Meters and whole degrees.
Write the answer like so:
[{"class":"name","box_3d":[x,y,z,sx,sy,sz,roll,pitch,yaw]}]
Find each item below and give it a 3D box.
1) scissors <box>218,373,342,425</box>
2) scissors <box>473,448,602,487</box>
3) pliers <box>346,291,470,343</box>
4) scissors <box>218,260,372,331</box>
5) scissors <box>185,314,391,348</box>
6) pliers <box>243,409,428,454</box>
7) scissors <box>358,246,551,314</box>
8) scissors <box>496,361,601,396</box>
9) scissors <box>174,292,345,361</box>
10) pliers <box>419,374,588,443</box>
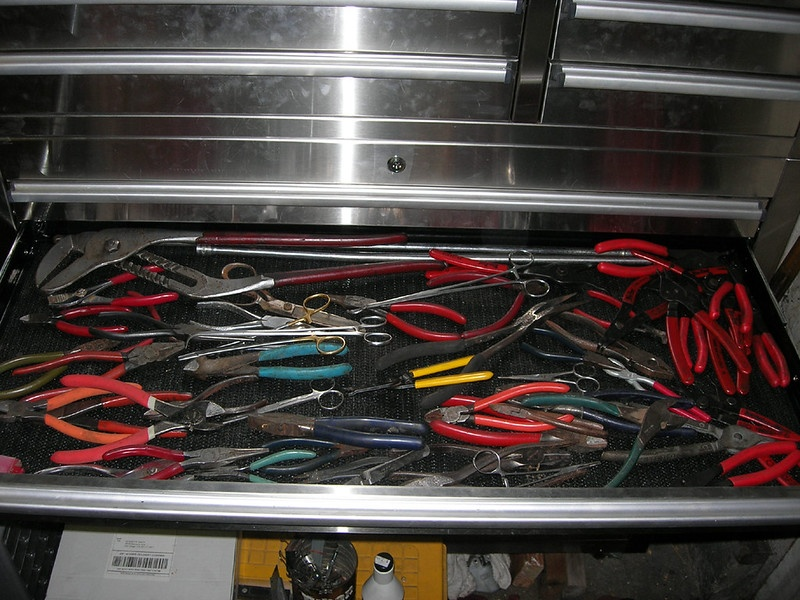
[{"class":"scissors","box_3d":[-0.258,0.222,1.549,0.246,0.097,0.010,-10,-53,-19]},{"class":"scissors","box_3d":[0.297,0.366,1.515,0.282,0.084,0.046,3,-26,-6]},{"class":"pliers","box_3d":[0.017,0.041,1.736,0.303,0.116,0.029,12,-52,10]},{"class":"scissors","box_3d":[-0.279,0.018,1.765,0.427,0.141,0.044,20,-27,7]},{"class":"scissors","box_3d":[-0.280,0.077,1.699,0.513,0.074,0.045,1,-26,-2]},{"class":"pliers","box_3d":[-0.133,0.285,1.512,0.513,0.124,0.051,4,-73,3]},{"class":"scissors","box_3d":[0.150,-0.047,1.830,0.444,0.175,0.032,-7,-43,-8]},{"class":"scissors","box_3d":[0.363,0.187,1.648,0.223,0.087,0.009,-4,-56,-11]},{"class":"scissors","box_3d":[-0.299,0.056,1.703,0.517,0.138,0.045,0,-38,-1]},{"class":"pliers","box_3d":[0.240,0.245,1.526,0.299,0.133,0.027,3,-54,3]}]
